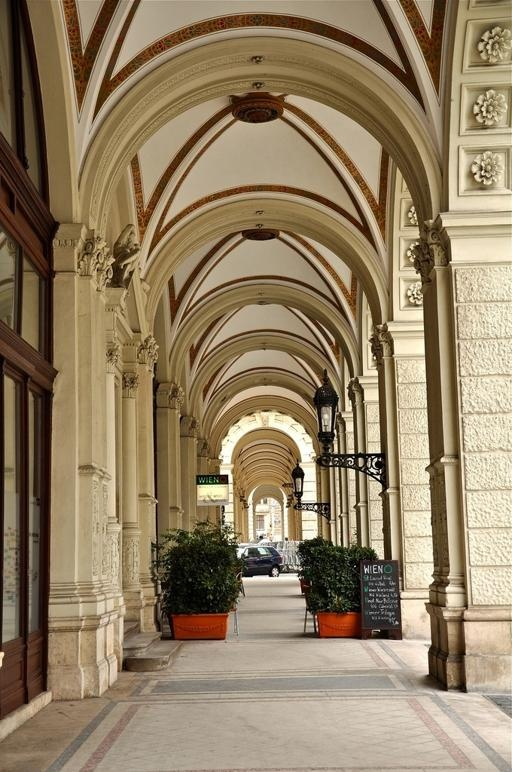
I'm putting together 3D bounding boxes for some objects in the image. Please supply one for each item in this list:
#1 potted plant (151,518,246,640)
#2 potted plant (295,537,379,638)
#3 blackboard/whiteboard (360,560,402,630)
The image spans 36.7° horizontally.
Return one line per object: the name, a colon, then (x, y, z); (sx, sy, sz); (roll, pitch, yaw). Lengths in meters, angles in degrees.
potted plant: (-0.993, 2.876, 11.042); (1.220, 1.414, 1.036); (2, -8, -30)
potted plant: (1.249, 2.900, 10.641); (0.855, 1.081, 0.953); (16, -19, -7)
blackboard/whiteboard: (1.580, 2.683, 9.846); (0.502, 0.868, 0.253); (-3, -12, 6)
